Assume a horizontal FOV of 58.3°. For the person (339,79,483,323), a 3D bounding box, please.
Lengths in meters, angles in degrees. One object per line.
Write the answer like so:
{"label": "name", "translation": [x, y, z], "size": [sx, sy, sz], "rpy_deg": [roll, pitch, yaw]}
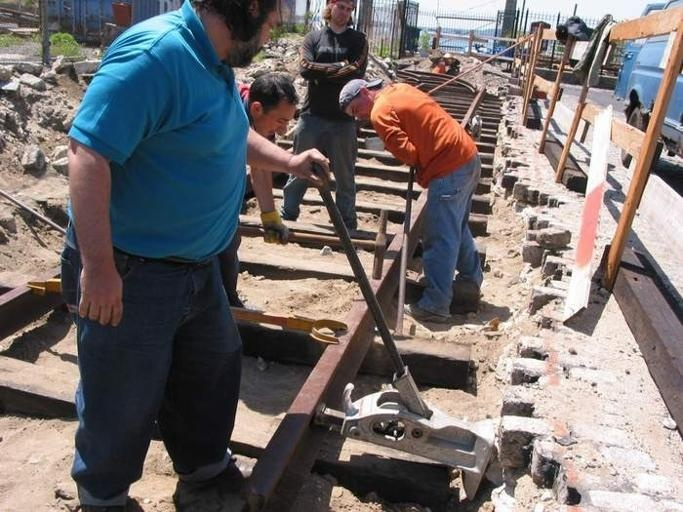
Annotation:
{"label": "person", "translation": [0.601, -0.536, 5.314], "size": [1.163, 2.018, 0.771], "rpy_deg": [3, 21, 16]}
